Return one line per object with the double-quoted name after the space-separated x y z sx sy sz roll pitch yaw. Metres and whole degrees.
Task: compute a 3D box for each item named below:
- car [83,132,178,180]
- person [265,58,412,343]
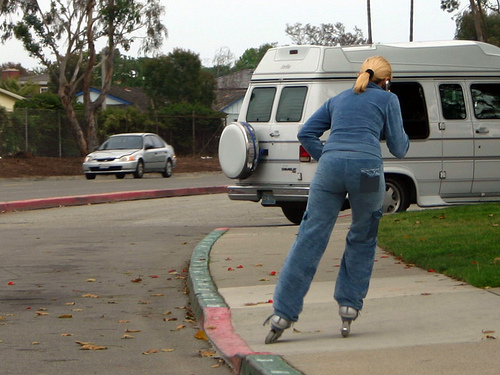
-4.611 -1.225 26.045 1.807 1.743 3.243 1 3 34 "car"
0.760 0.057 5.627 1.185 2.346 0.566 -1 2 0 "person"
